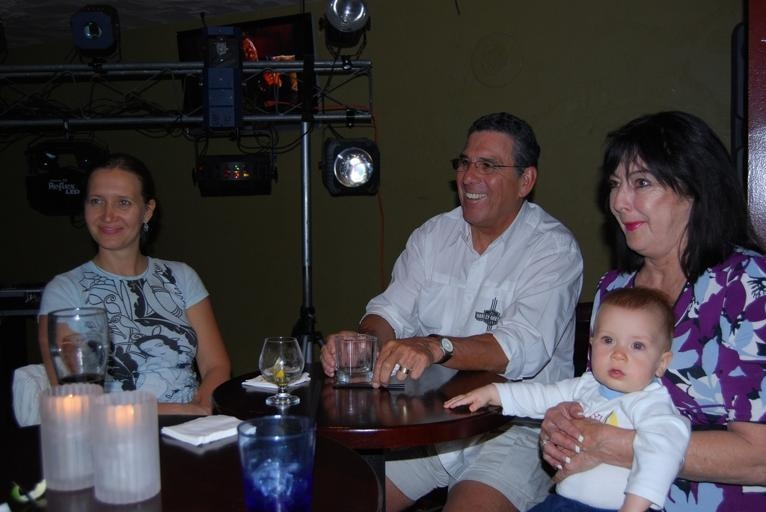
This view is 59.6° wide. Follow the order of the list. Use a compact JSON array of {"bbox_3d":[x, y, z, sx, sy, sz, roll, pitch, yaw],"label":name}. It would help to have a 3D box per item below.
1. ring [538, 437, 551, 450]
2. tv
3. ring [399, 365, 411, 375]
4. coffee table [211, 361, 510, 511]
[{"bbox_3d":[0.622,0.725,2.582,0.038,0.052,0.021,1,35,16],"label":"ring"},{"bbox_3d":[-0.961,-1.312,4.784,1.137,0.805,0.122,-2,-15,2],"label":"tv"},{"bbox_3d":[0.090,0.469,2.742,0.030,0.020,0.030,9,-7,1],"label":"ring"},{"bbox_3d":[-0.059,0.634,2.429,0.753,0.478,0.751,-1,-2,-3],"label":"coffee table"}]
